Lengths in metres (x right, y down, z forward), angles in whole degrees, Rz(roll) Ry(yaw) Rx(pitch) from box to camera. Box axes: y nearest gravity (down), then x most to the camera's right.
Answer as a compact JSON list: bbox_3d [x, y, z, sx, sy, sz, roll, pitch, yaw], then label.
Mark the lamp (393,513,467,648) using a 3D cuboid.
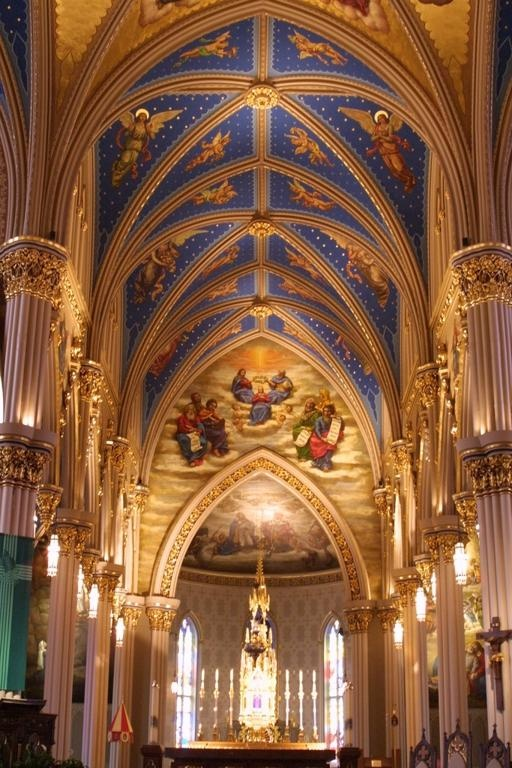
[{"bbox_3d":[2.906,2.962,12.301,0.595,1.897,0.587,-9,-24,19],"label":"lamp"}]
